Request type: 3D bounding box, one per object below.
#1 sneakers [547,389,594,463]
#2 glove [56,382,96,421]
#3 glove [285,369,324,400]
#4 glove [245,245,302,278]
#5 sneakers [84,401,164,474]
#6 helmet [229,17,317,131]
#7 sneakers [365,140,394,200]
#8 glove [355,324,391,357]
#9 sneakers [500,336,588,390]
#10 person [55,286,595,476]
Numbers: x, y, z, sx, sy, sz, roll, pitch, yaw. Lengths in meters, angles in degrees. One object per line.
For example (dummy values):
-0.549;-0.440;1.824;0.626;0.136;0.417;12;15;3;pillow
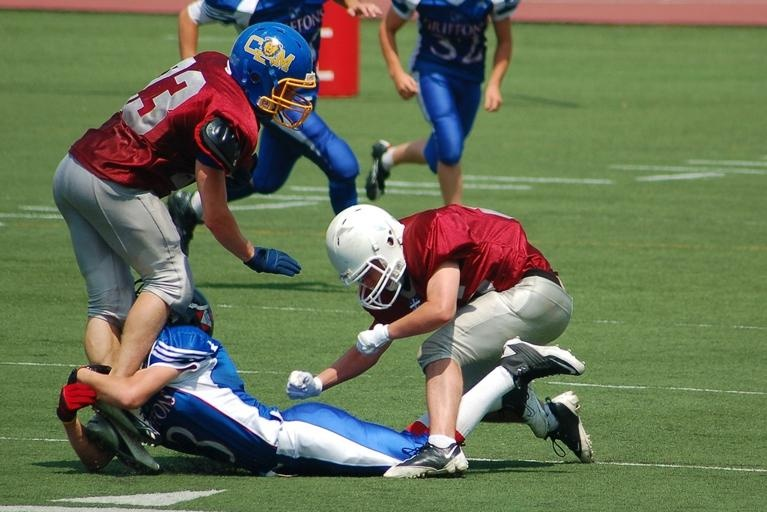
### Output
0.951;0.860;7.511;0.212;0.395;0.155;-25;-2;-10;sneakers
-1.494;0.713;7.093;0.165;0.188;0.094;-7;-9;1;glove
-0.394;0.645;7.343;0.177;0.126;0.084;-5;27;31;glove
-0.579;0.036;7.768;0.253;0.083;0.143;16;50;-27;glove
-1.278;0.889;7.181;0.400;0.126;0.184;39;15;10;sneakers
-0.513;-0.999;7.823;0.635;0.545;0.475;11;17;-9;helmet
-0.046;-0.636;10.756;0.229;0.432;0.167;10;27;10;sneakers
-0.052;0.420;7.286;0.177;0.071;0.139;-21;6;-27;glove
0.771;0.538;7.377;0.547;0.175;0.239;10;53;3;sneakers
-0.310;0.627;7.242;2.591;0.652;0.922;0;-11;-2;person
